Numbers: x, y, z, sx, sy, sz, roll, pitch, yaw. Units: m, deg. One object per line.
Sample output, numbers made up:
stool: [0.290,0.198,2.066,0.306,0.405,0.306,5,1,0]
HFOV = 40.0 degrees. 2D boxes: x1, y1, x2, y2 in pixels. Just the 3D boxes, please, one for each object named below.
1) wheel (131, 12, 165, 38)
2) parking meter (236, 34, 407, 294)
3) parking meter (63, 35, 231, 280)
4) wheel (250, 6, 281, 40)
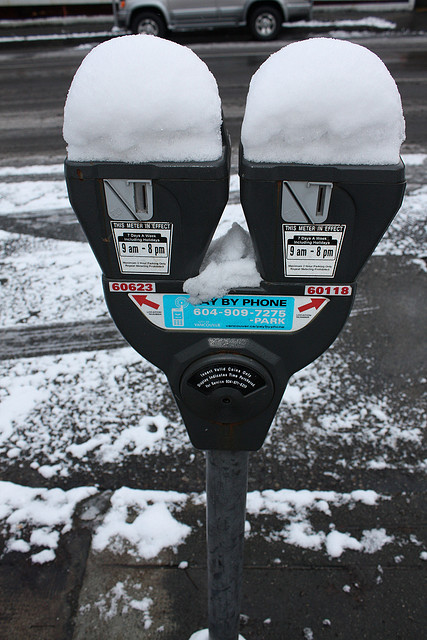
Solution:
wheel: [-1.171,-5.245,10.404,0.590,0.382,0.360,-6,28,-5]
parking meter: [0.219,-0.300,1.199,0.329,0.496,0.188,-1,29,4]
parking meter: [-0.132,-0.317,1.199,0.322,0.474,0.186,-3,28,1]
wheel: [0.951,-5.480,10.836,0.561,0.554,0.657,-1,28,4]
